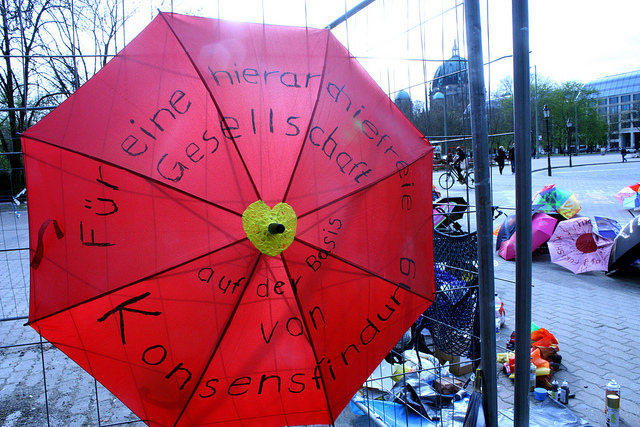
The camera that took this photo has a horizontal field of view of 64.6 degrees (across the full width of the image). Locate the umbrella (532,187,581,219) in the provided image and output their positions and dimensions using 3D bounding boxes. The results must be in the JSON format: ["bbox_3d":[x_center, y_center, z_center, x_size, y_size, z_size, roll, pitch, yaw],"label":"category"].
[{"bbox_3d":[6.207,-0.316,13.193,0.897,0.968,0.469,44,15,20],"label":"umbrella"}]

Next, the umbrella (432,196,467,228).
[{"bbox_3d":[1.807,-0.034,7.093,0.252,0.565,0.540,22,31,29],"label":"umbrella"}]

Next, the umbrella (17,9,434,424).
[{"bbox_3d":[-1.177,0.110,5.720,3.270,3.627,2.295,-16,4,-16],"label":"umbrella"}]

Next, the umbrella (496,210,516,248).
[{"bbox_3d":[4.542,0.405,12.305,0.205,0.851,0.512,14,9,-22],"label":"umbrella"}]

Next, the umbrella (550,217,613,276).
[{"bbox_3d":[5.702,0.640,11.054,1.194,1.181,0.603,5,13,30],"label":"umbrella"}]

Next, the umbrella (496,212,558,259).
[{"bbox_3d":[4.034,0.448,9.705,0.308,0.762,0.802,39,30,-24],"label":"umbrella"}]
